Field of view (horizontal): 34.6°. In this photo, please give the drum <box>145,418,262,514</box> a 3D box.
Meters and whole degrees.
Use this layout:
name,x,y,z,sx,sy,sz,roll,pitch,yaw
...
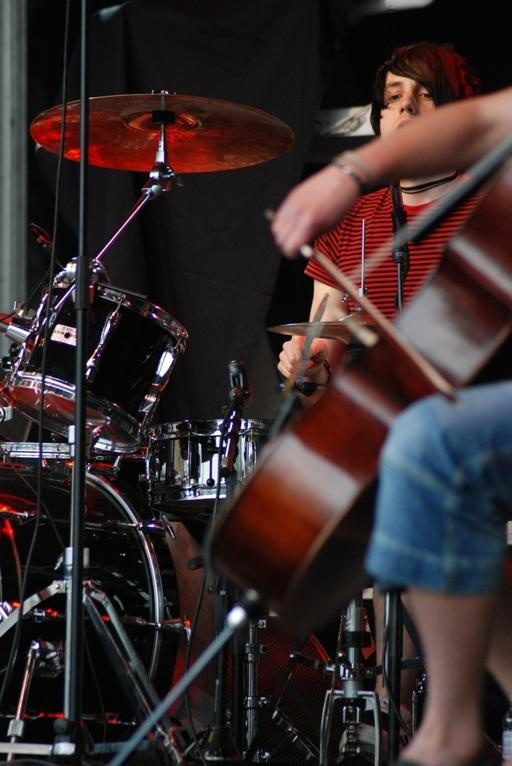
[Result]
name,x,y,z,sx,sy,sz,roll,pitch,yaw
drum,-0.143,0.214,2.059,0.266,0.225,0.279,2,3,-3

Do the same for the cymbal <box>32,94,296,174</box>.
name,x,y,z,sx,sy,sz,roll,pitch,yaw
cymbal,-0.307,-0.824,2.568,0.807,0.122,0.740,-1,1,-25

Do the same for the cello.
name,x,y,z,sx,sy,sz,roll,pitch,yaw
cello,0.124,-0.001,1.046,0.407,0.517,0.300,-1,10,1
